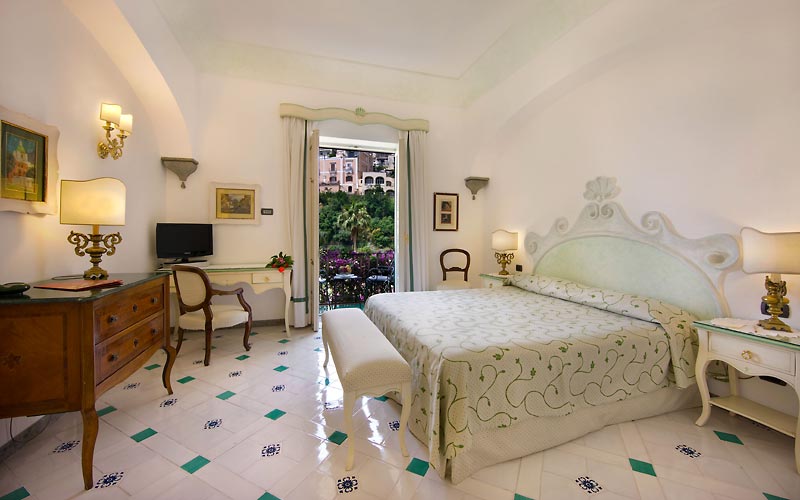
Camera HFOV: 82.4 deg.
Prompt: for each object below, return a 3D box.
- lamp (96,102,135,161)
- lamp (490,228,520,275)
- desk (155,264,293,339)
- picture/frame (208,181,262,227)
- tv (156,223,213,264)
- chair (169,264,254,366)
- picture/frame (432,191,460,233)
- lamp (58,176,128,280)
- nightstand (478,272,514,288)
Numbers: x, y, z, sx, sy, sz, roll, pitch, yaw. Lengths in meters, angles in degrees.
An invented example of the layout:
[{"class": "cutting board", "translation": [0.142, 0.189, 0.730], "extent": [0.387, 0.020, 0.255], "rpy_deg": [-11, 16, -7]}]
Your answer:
[{"class": "lamp", "translation": [-3.364, -1.351, 5.341], "extent": [0.312, 0.554, 0.500], "rpy_deg": [-3, -5, 0]}, {"class": "lamp", "translation": [1.632, 0.042, 7.117], "extent": [0.572, 0.635, 0.575], "rpy_deg": [6, -8, -24]}, {"class": "desk", "translation": [-2.491, 0.780, 6.648], "extent": [1.681, 1.053, 0.664], "rpy_deg": [0, 4, -23]}, {"class": "picture/frame", "translation": [-2.520, -0.711, 6.834], "extent": [0.701, 0.658, 0.052], "rpy_deg": [1, -2, -20]}, {"class": "tv", "translation": [-3.089, -0.113, 6.445], "extent": [0.591, 0.431, 0.178], "rpy_deg": [-1, 0, -33]}, {"class": "chair", "translation": [-2.535, 0.779, 6.169], "extent": [0.888, 1.199, 0.940], "rpy_deg": [4, 6, 7]}, {"class": "picture/frame", "translation": [0.784, -0.660, 7.763], "extent": [0.469, 0.648, 0.047], "rpy_deg": [0, 2, -20]}, {"class": "lamp", "translation": [-3.259, -0.250, 4.819], "extent": [0.559, 1.064, 0.684], "rpy_deg": [1, 3, -36]}, {"class": "nightstand", "translation": [1.464, 0.450, 6.929], "extent": [0.212, 0.293, 0.315], "rpy_deg": [-3, 9, -27]}]
